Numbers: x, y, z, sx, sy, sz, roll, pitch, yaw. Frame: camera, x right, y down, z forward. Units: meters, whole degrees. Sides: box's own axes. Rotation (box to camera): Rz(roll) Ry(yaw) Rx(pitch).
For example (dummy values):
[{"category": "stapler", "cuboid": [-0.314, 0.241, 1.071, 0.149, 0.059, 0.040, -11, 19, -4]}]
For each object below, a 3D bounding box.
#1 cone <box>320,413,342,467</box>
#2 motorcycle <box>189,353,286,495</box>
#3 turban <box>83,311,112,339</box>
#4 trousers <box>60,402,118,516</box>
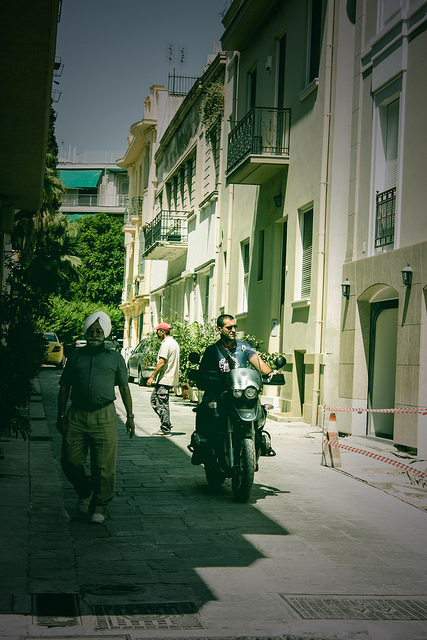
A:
[{"category": "cone", "cuboid": [1.681, 1.664, 9.098, 0.301, 0.701, 0.542, 3, -2, 9]}, {"category": "motorcycle", "cuboid": [0.145, 1.028, 6.249, 0.414, 1.149, 0.918, 5, -3, -29]}, {"category": "turban", "cuboid": [-0.977, 0.042, 5.434, 0.172, 0.215, 0.246, 0, -42, 4]}, {"category": "trousers", "cuboid": [-1.003, 1.092, 5.235, 0.431, 0.642, 0.329, 4, -2, -8]}]
